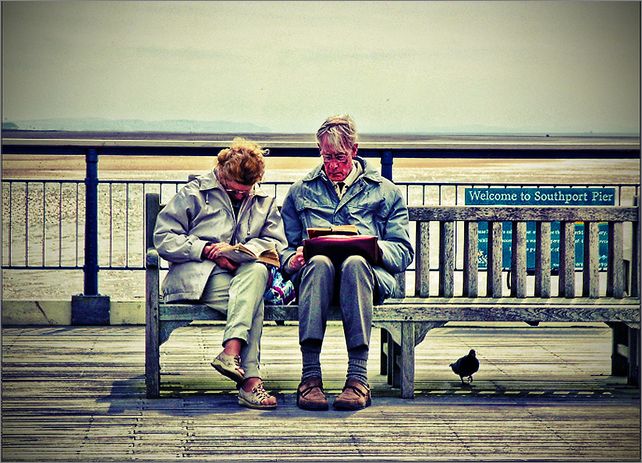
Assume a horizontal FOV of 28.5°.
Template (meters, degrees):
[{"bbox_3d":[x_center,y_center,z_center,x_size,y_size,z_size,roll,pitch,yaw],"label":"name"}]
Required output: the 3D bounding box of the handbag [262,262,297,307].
[{"bbox_3d":[-0.620,0.837,18.824,0.429,0.574,0.264,-3,2,-13],"label":"handbag"}]

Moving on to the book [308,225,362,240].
[{"bbox_3d":[0.165,0.019,18.770,0.760,0.184,0.241,0,3,1],"label":"book"}]

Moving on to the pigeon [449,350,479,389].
[{"bbox_3d":[2.181,2.084,19.317,0.381,0.505,0.732,0,-6,-18],"label":"pigeon"}]
